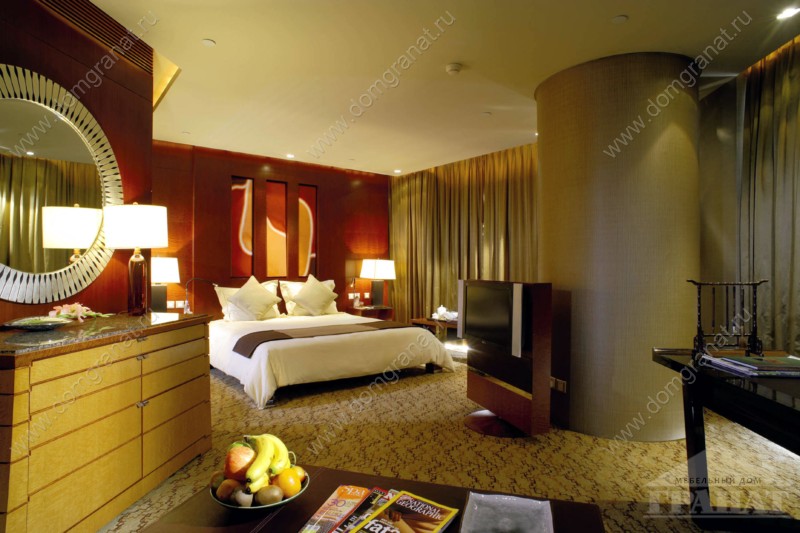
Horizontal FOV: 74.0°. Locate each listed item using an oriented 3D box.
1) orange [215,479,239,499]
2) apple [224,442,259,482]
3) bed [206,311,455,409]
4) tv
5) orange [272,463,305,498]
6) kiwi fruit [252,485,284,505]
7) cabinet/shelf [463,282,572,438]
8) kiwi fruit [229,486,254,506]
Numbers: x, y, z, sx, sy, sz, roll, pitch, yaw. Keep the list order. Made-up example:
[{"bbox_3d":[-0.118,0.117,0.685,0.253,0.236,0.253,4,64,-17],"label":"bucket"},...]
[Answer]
[{"bbox_3d":[-0.961,1.225,2.943,0.113,0.093,0.086,-25,-40,35],"label":"orange"},{"bbox_3d":[-0.909,1.084,2.994,0.165,0.208,0.189,3,5,19],"label":"apple"},{"bbox_3d":[-0.785,0.999,6.110,2.600,0.588,1.178,-3,10,-18],"label":"bed"},{"bbox_3d":[0.881,0.490,5.037,0.101,0.543,0.753,0,2,-25],"label":"tv"},{"bbox_3d":[-0.628,1.220,3.064,0.120,0.087,0.149,4,1,4],"label":"orange"},{"bbox_3d":[-0.726,1.260,2.945,0.123,0.074,0.084,0,15,-16],"label":"kiwi fruit"},{"bbox_3d":[1.121,0.861,4.875,0.415,1.552,1.256,1,-2,-20],"label":"cabinet/shelf"},{"bbox_3d":[-0.878,1.260,2.925,0.121,0.090,0.051,2,9,11],"label":"kiwi fruit"}]
